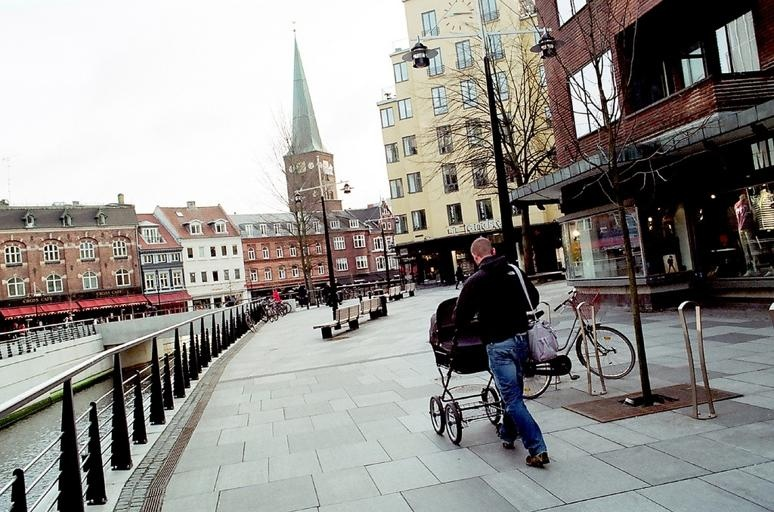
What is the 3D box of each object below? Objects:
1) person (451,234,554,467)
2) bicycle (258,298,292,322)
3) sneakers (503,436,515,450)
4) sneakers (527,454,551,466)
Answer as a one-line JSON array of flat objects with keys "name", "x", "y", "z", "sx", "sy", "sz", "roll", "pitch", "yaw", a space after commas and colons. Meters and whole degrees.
[{"name": "person", "x": 1.496, "y": 1.170, "z": 7.392, "sx": 1.127, "sy": 1.949, "sz": 1.032, "roll": -6, "pitch": 3, "yaw": -14}, {"name": "bicycle", "x": -6.912, "y": 3.337, "z": 34.890, "sx": 0.912, "sy": 1.084, "sz": 1.847, "roll": -8, "pitch": 12, "yaw": 15}, {"name": "sneakers", "x": 1.587, "y": 2.479, "z": 7.554, "sx": 0.117, "sy": 0.165, "sz": 0.164, "roll": -2, "pitch": -10, "yaw": -42}, {"name": "sneakers", "x": 1.844, "y": 2.494, "z": 7.061, "sx": 0.292, "sy": 0.112, "sz": 0.168, "roll": -5, "pitch": 2, "yaw": 7}]
